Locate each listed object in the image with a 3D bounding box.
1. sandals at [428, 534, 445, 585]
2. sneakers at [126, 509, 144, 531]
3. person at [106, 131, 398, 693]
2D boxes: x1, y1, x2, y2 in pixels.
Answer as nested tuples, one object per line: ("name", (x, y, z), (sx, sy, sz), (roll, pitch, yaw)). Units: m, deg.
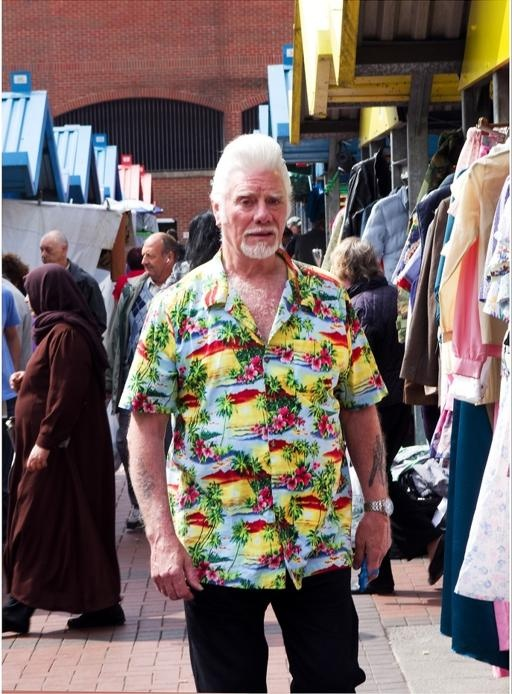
("sandals", (0.961, 1.157, 4.762), (0.087, 0.298, 0.462), (-2, 1, 11))
("sneakers", (-0.865, 1.251, 6.458), (0.069, 0.100, 0.219), (2, 11, -1))
("person", (0.019, 0.168, 2.292), (0.715, 1.424, 0.373), (-3, 1, -10))
